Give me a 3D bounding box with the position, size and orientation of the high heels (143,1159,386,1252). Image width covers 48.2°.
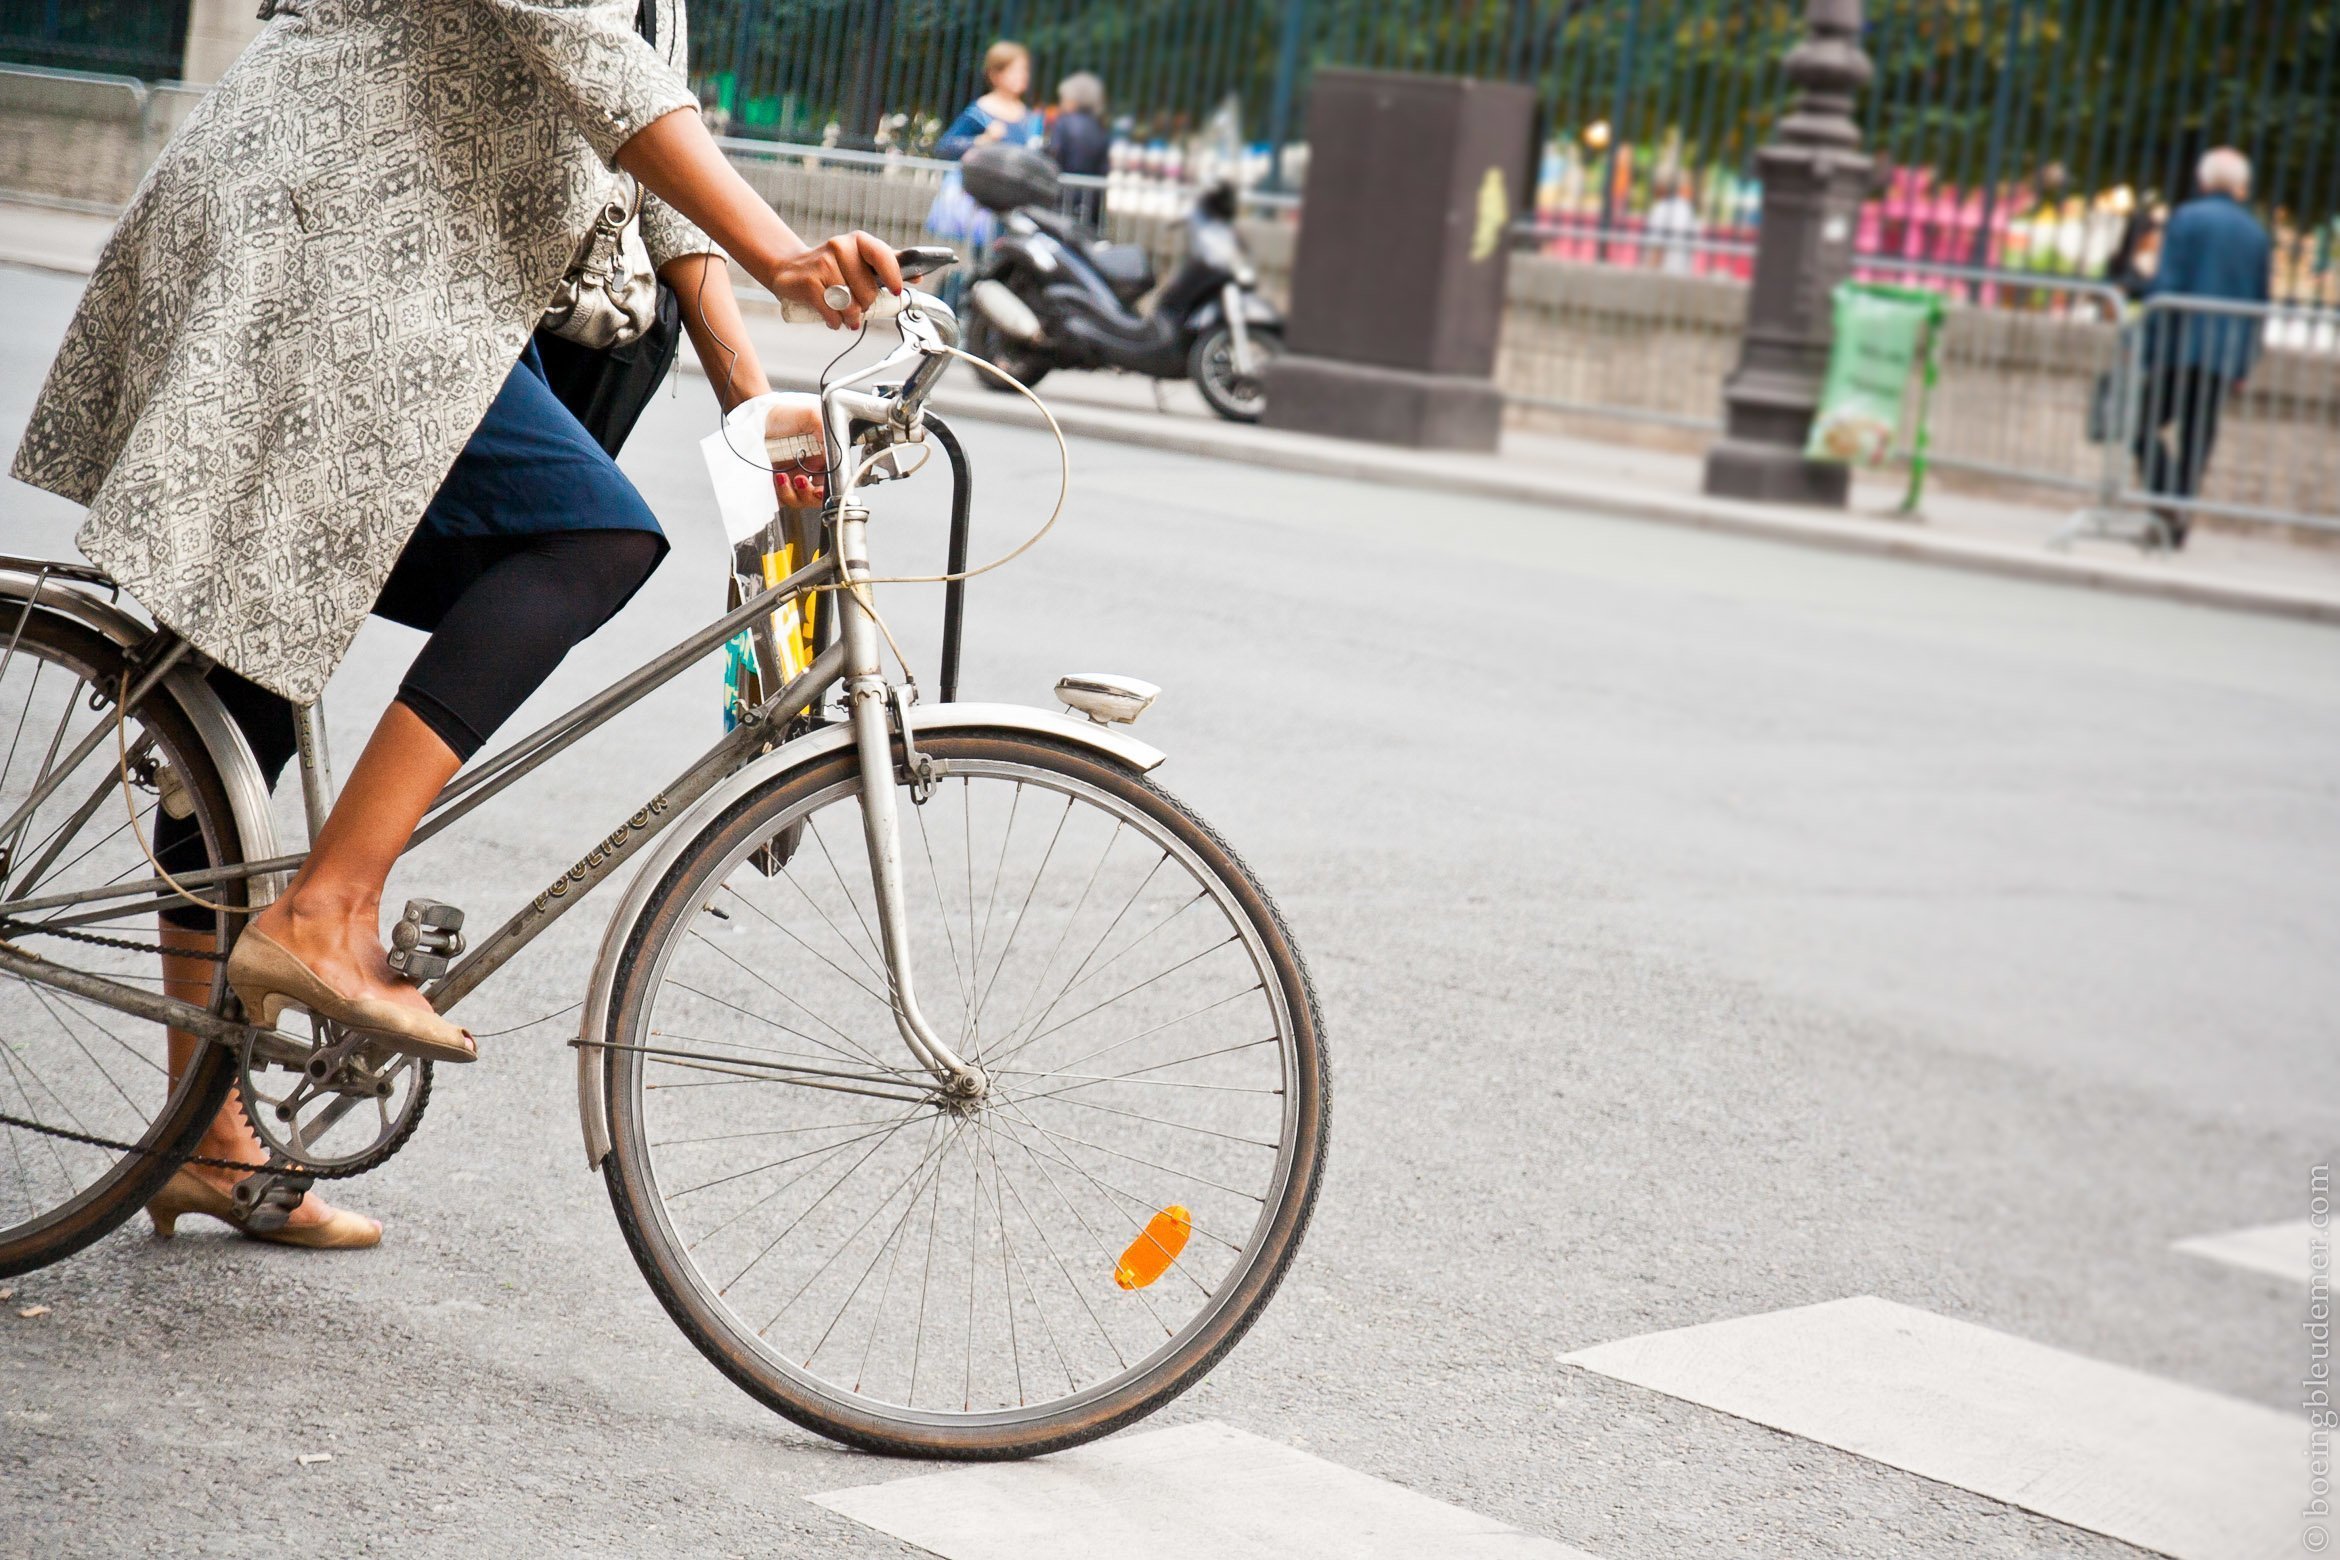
[{"bbox_3d":[-1.634,0.779,4.724,0.409,0.176,0.163,3,10,-14],"label":"high heels"}]

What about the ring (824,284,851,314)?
[{"bbox_3d":[-0.508,-0.736,4.006,0.035,0.037,0.018,3,9,15],"label":"ring"}]

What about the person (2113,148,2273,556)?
[{"bbox_3d":[6.193,-2.556,15.704,0.655,2.341,1.176,9,8,20],"label":"person"}]
